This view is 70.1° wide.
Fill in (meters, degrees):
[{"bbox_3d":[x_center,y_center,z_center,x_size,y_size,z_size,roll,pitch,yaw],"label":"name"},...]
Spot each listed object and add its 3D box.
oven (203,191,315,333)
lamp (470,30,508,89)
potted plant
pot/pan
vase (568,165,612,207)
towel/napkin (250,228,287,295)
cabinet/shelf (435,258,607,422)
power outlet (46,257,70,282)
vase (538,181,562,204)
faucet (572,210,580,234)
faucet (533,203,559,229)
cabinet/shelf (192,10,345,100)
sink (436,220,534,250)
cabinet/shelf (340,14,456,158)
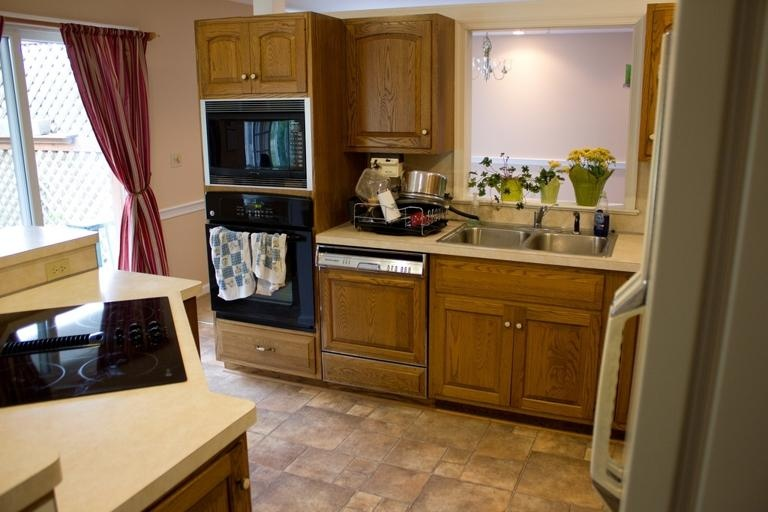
[{"bbox_3d":[-0.721,-0.044,3.650,0.712,0.852,0.582,4,19,10],"label":"oven"},{"bbox_3d":[1.387,-2.574,7.005,0.508,0.622,1.521,2,15,10],"label":"lamp"},{"bbox_3d":[0.822,-0.472,3.578,0.400,0.272,0.531,-2,-8,31],"label":"potted plant"},{"bbox_3d":[0.343,-0.390,3.394,0.424,0.169,0.275,23,6,-5],"label":"pot/pan"},{"bbox_3d":[1.221,-0.431,3.327,0.272,0.251,0.236,9,17,32],"label":"vase"},{"bbox_3d":[-0.716,0.057,3.347,0.247,0.384,0.097,3,15,16],"label":"towel/napkin"},{"bbox_3d":[0.738,0.411,2.879,0.800,0.757,0.393,4,12,20],"label":"cabinet/shelf"},{"bbox_3d":[-1.366,0.058,2.276,0.012,0.066,0.093,4,9,22],"label":"power outlet"},{"bbox_3d":[1.031,-0.392,3.407,0.135,0.141,0.144,5,14,19],"label":"vase"},{"bbox_3d":[1.147,-0.200,3.265,0.048,0.123,0.195,4,15,20],"label":"faucet"},{"bbox_3d":[0.970,-0.238,3.351,0.115,0.146,0.160,6,16,24],"label":"faucet"},{"bbox_3d":[-0.735,-1.200,3.420,0.773,0.487,0.420,4,13,17],"label":"cabinet/shelf"},{"bbox_3d":[0.577,-0.103,3.351,0.607,0.121,0.353,-5,15,-18],"label":"sink"},{"bbox_3d":[0.049,-1.141,3.438,0.632,0.827,0.567,-1,35,0],"label":"cabinet/shelf"}]
